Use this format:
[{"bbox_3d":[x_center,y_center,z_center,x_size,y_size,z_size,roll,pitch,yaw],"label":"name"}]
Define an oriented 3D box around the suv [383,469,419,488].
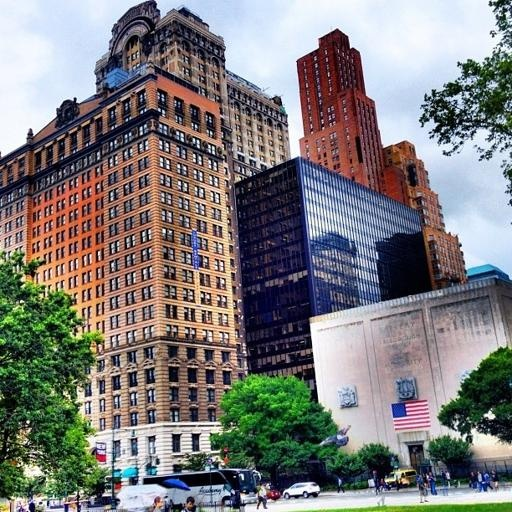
[{"bbox_3d":[16.925,26.291,87.377,3.631,1.576,2.181,20,-38,-33],"label":"suv"}]
